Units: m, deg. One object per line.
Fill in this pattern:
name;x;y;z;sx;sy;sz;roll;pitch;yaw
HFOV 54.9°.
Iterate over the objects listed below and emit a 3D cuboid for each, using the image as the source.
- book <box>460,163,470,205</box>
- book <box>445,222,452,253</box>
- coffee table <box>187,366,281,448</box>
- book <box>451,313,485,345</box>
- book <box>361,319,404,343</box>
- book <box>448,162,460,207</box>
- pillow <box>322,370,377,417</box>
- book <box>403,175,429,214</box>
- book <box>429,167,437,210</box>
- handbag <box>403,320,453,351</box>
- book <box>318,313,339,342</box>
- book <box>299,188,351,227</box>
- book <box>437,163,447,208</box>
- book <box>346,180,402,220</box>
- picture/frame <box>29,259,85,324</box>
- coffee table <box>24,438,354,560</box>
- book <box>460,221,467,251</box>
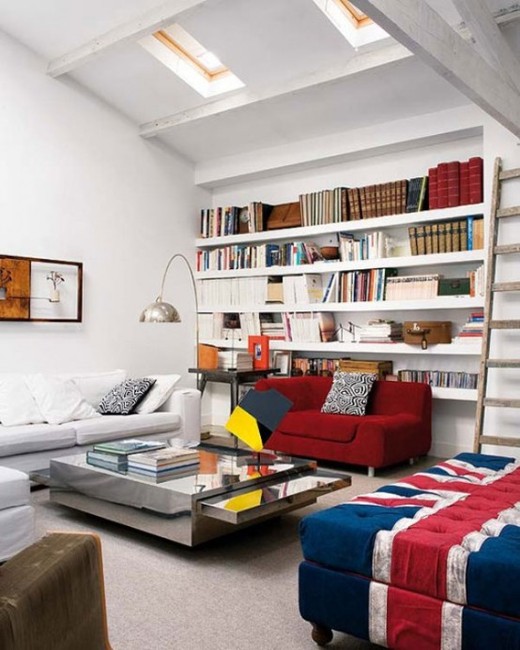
book;1.841;-1.263;4.493;0.092;0.388;0.045;-2;-3;34
book;1.730;-0.799;4.592;0.059;0.253;0.024;-1;-2;17
coffee table;-0.292;0.901;5.801;0.915;0.889;0.925;-4;-10;45
book;1.867;0.037;4.426;0.267;0.153;0.263;-1;2;36
book;1.258;0.020;5.007;0.326;0.150;0.245;-1;1;45
book;1.764;-1.269;4.543;0.104;0.393;0.056;-1;-2;17
pillow;0.831;0.630;4.592;0.448;0.390;0.143;7;-20;48
book;1.523;-1.237;4.786;0.074;0.289;0.306;6;-3;-35
book;1.613;-1.262;4.652;0.091;0.385;0.030;-2;-3;34
handbag;1.578;0.085;4.678;0.291;0.167;0.366;0;-1;-28
book;0.739;0.036;5.435;0.046;0.378;0.311;-6;-8;38
book;0.710;-1.206;5.476;0.566;0.500;0.395;-1;-2;25
book;1.681;-1.274;4.595;0.096;0.394;0.042;-2;-3;27
book;1.164;-1.232;5.009;0.605;0.314;0.056;-2;-3;33
picture/frame;-1.960;-0.319;4.788;0.073;0.533;0.683;-1;-2;33
coffee table;-0.500;0.923;2.809;1.220;0.218;0.756;-2;-2;44
book;1.838;-0.804;4.524;0.051;0.193;0.205;2;0;12
